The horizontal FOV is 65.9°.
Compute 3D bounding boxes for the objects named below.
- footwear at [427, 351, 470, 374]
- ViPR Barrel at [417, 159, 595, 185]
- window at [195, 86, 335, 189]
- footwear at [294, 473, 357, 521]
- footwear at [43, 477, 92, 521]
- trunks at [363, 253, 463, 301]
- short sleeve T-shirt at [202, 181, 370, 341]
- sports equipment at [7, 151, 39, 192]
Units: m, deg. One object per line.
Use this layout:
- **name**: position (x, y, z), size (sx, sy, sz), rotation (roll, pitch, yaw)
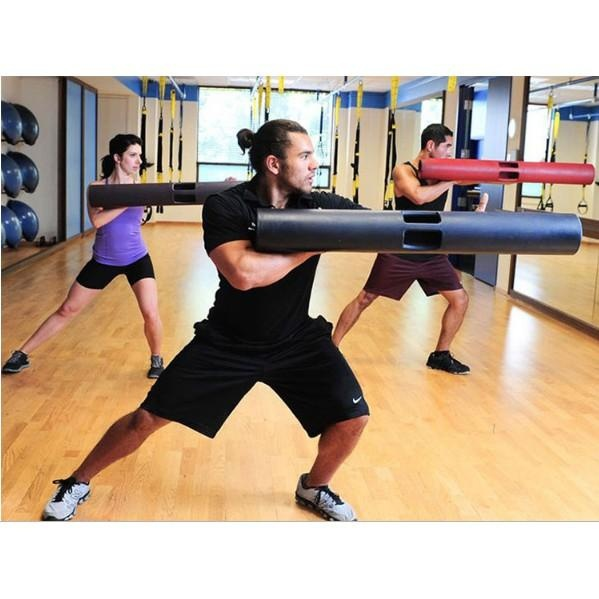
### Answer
- **footwear**: position (0.976, 0.414, 3.074), size (0.278, 0.114, 0.119), rotation (7, 13, 22)
- **ViPR Barrel**: position (0.635, -0.396, 1.416), size (0.512, 0.063, 0.085), rotation (4, 16, 8)
- **window**: position (-0.832, -4.092, 10.992), size (3.286, 2.092, 0.069), rotation (-10, 48, -20)
- **footwear**: position (0.080, 0.640, 1.562), size (0.238, 0.100, 0.090), rotation (20, 24, 23)
- **footwear**: position (-0.730, 0.614, 1.494), size (0.074, 0.079, 0.181), rotation (13, 15, 2)
- **trunks**: position (0.792, -0.147, 3.219), size (0.668, 0.336, 0.225), rotation (-1, 16, -3)
- **short sleeve T-shirt**: position (-0.090, -0.065, 1.294), size (0.463, 0.420, 0.284), rotation (-15, 39, -37)
- **sports equipment**: position (-3.613, -1.648, 6.041), size (0.445, 0.532, 0.172), rotation (-1, 1, -40)
